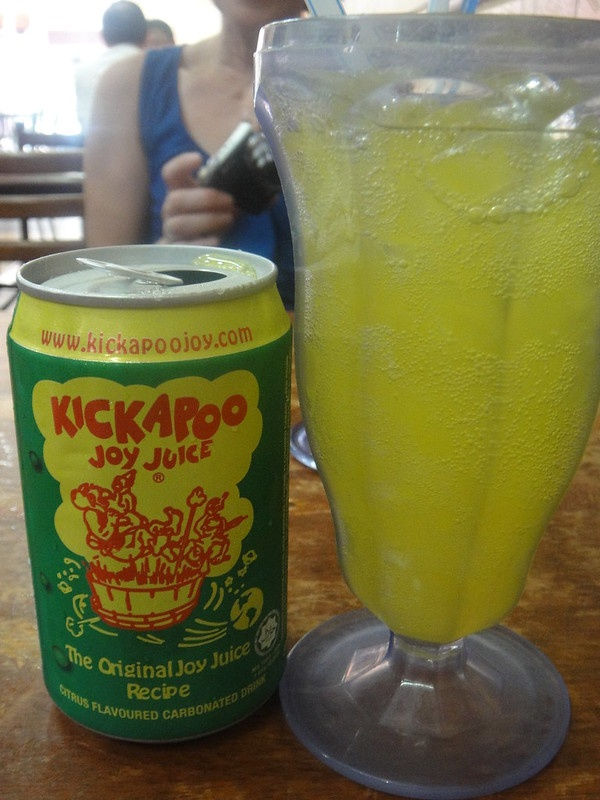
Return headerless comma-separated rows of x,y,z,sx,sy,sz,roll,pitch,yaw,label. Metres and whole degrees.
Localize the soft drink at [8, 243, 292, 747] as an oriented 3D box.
-0.067,0.052,0.386,0.126,0.219,0.103,-1,28,-1,soft drink
